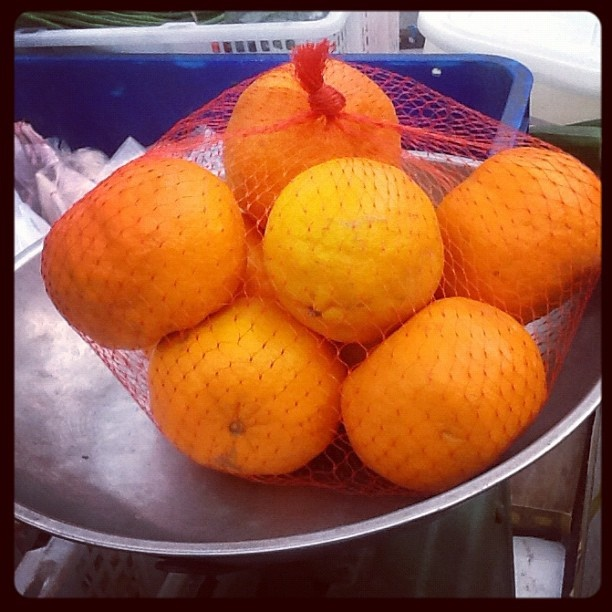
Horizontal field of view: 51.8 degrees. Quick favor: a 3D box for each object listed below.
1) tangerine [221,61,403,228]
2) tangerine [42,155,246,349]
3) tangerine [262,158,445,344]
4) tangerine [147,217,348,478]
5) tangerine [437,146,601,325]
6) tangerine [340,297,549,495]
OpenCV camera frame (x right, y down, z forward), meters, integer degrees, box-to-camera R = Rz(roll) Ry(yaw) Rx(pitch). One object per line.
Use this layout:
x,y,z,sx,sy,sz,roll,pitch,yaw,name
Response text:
-0.008,-0.147,0.628,0.143,0.148,0.152,17,73,-5,tangerine
-0.121,-0.036,0.482,0.143,0.158,0.081,-1,15,-22,tangerine
0.040,-0.039,0.529,0.135,0.129,0.142,2,88,5,tangerine
-0.043,0.046,0.485,0.139,0.137,0.169,-1,82,-3,tangerine
0.188,-0.068,0.575,0.149,0.154,0.156,-16,23,-34,tangerine
0.104,0.065,0.520,0.153,0.118,0.121,-36,79,-5,tangerine
